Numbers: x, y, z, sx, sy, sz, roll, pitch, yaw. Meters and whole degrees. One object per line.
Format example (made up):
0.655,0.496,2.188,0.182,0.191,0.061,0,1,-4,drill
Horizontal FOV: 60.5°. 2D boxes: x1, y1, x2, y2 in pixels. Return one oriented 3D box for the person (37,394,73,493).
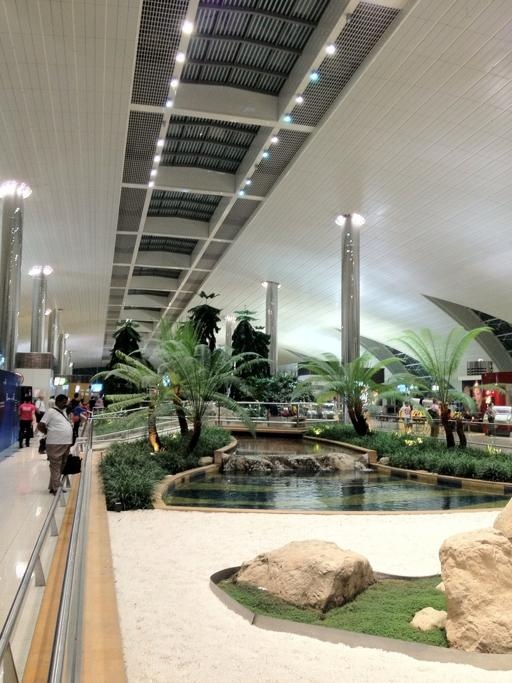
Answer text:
-2.758,1.493,6.112,0.443,1.375,0.548,1,-5,1,person
